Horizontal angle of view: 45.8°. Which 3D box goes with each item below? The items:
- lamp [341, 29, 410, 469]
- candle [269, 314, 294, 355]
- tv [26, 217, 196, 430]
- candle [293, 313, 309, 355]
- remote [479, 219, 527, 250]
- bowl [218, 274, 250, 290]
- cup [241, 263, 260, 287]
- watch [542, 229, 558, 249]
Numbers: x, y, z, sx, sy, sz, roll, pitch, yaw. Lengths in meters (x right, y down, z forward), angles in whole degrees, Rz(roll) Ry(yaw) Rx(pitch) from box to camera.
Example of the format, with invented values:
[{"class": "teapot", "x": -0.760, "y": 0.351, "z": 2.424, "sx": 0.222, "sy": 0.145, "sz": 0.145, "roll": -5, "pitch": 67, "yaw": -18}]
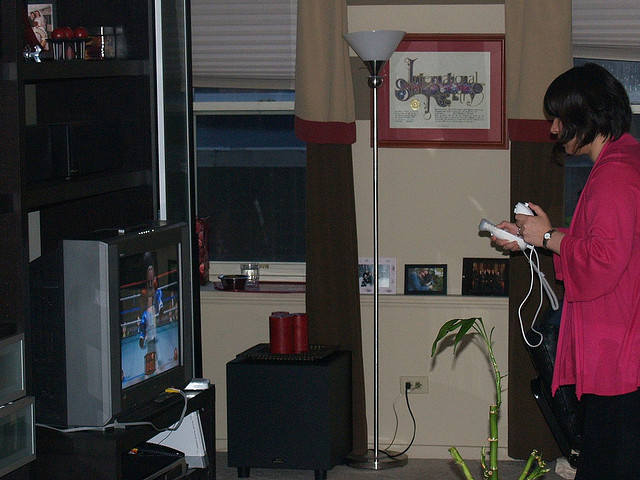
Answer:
[{"class": "lamp", "x": 0.307, "y": 0.051, "z": 4.026, "sx": 0.337, "sy": 2.385, "sz": 0.521, "roll": 0, "pitch": 4, "yaw": 7}, {"class": "candle", "x": -0.201, "y": 0.499, "z": 3.925, "sx": 0.149, "sy": 0.301, "sz": 0.159, "roll": 0, "pitch": 5, "yaw": -4}, {"class": "tv", "x": -0.820, "y": 0.302, "z": 2.987, "sx": 0.325, "sy": 0.760, "sz": 0.588, "roll": 3, "pitch": 7, "yaw": 18}, {"class": "candle", "x": -0.088, "y": 0.488, "z": 3.985, "sx": 0.085, "sy": 0.201, "sz": 0.155, "roll": 3, "pitch": 5, "yaw": 33}, {"class": "remote", "x": 0.857, "y": -0.027, "z": 3.506, "sx": 0.176, "sy": 0.069, "sz": 0.053, "roll": 32, "pitch": 39, "yaw": 20}, {"class": "bowl", "x": -0.492, "y": 0.244, "z": 4.373, "sx": 0.143, "sy": 0.076, "sz": 0.159, "roll": 4, "pitch": 6, "yaw": 34}, {"class": "cup", "x": -0.398, "y": 0.211, "z": 4.354, "sx": 0.110, "sy": 0.143, "sz": 0.083, "roll": 1, "pitch": 1, "yaw": -4}, {"class": "watch", "x": 0.887, "y": -0.003, "z": 2.902, "sx": 0.055, "sy": 0.073, "sz": 0.065, "roll": 1, "pitch": 5, "yaw": 19}]
